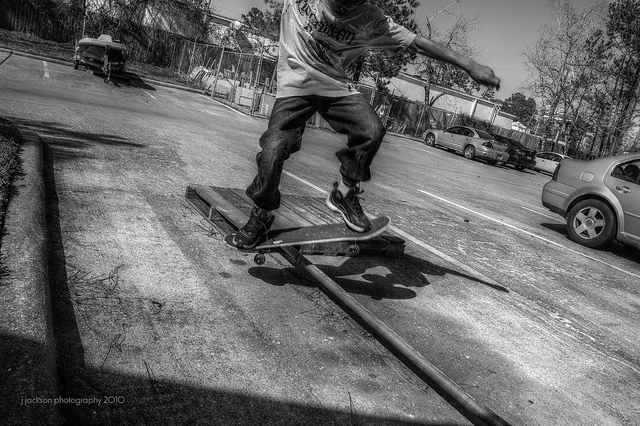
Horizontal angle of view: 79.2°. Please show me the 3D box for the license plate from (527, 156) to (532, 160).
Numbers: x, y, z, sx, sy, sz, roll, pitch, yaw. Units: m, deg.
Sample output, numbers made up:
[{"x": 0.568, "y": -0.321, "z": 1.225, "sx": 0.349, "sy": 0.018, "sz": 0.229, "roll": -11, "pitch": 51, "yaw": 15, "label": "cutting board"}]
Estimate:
[{"x": 12.653, "y": -3.239, "z": 23.431, "sx": 0.371, "sy": 0.156, "sz": 0.126, "roll": 0, "pitch": 18, "yaw": -39, "label": "license plate"}]

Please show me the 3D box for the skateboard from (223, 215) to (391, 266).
[{"x": -0.202, "y": 0.282, "z": 3.831, "sx": 1.350, "sy": 0.251, "sz": 0.413, "roll": -6, "pitch": 23, "yaw": -3, "label": "skateboard"}]

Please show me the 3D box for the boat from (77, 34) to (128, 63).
[{"x": -10.612, "y": -7.731, "z": 18.384, "sx": 1.868, "sy": 1.072, "sz": 2.586, "roll": -11, "pitch": 30, "yaw": -35, "label": "boat"}]

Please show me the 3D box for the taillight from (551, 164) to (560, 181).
[{"x": 5.270, "y": -0.868, "z": 8.633, "sx": 0.082, "sy": 0.355, "sz": 0.426, "roll": 18, "pitch": 16, "yaw": 28, "label": "taillight"}]

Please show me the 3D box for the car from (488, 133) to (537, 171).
[{"x": 11.943, "y": -3.333, "z": 23.122, "sx": 1.437, "sy": 1.183, "sz": 3.451, "roll": -4, "pitch": 23, "yaw": -21, "label": "car"}]

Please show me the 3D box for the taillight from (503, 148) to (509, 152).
[{"x": 10.757, "y": -3.529, "z": 22.325, "sx": 0.109, "sy": 0.206, "sz": 0.517, "roll": 22, "pitch": 17, "yaw": 36, "label": "taillight"}]

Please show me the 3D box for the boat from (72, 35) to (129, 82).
[{"x": -10.479, "y": -7.176, "z": 18.265, "sx": 1.982, "sy": 1.304, "sz": 3.387, "roll": 9, "pitch": 1, "yaw": -45, "label": "boat"}]

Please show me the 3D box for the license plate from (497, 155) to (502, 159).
[{"x": 10.216, "y": -3.107, "z": 22.049, "sx": 0.305, "sy": 0.225, "sz": 0.048, "roll": 7, "pitch": 14, "yaw": -22, "label": "license plate"}]
